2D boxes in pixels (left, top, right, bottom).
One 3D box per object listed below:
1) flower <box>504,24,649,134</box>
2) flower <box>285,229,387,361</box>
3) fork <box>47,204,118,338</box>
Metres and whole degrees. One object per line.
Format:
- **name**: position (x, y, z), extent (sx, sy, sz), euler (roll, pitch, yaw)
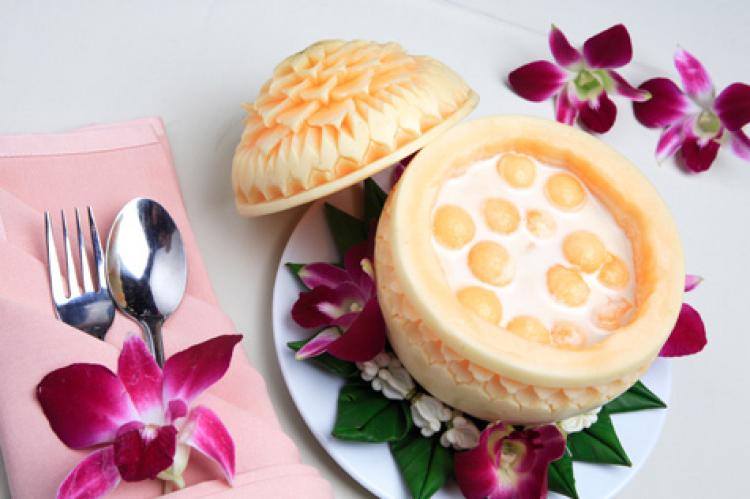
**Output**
- **flower**: position (0.361, -0.306, 1.346), extent (0.199, 0.207, 0.076), euler (9, 6, 7)
- **flower**: position (-0.058, 0.060, 1.080), extent (0.139, 0.081, 0.164), euler (-21, 68, 9)
- **fork**: position (-0.393, 0.042, 0.995), extent (0.054, 0.042, 0.248), euler (-6, 64, -29)
